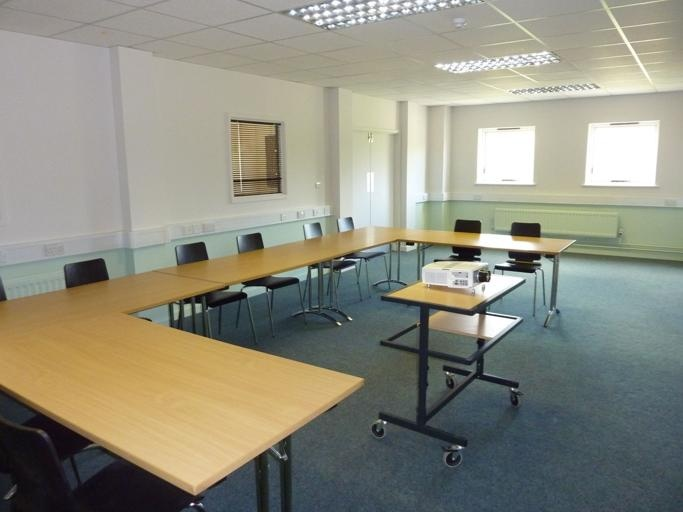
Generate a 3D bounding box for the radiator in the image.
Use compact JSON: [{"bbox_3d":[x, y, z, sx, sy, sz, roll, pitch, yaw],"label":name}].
[{"bbox_3d":[4.564,-0.709,9.774,1.445,0.596,3.994,-2,7,-38],"label":"radiator"}]
